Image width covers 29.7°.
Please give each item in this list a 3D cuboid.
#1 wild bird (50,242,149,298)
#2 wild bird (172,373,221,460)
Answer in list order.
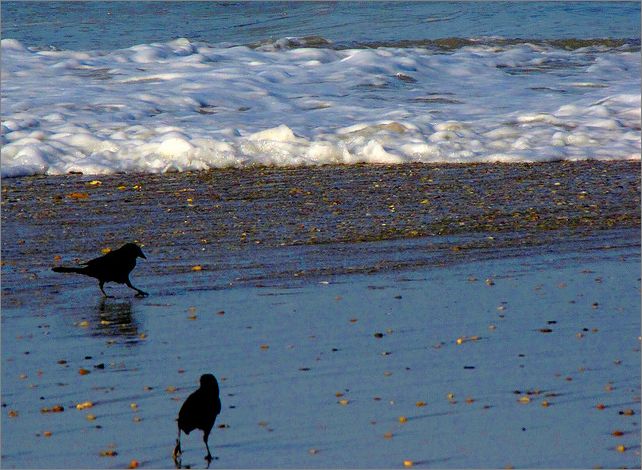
[{"bbox_3d":[-3.212,0.555,18.234,1.211,0.787,0.394,-4,9,-7],"label":"wild bird"},{"bbox_3d":[-1.651,2.451,16.128,0.683,1.120,0.440,-5,10,-5],"label":"wild bird"}]
